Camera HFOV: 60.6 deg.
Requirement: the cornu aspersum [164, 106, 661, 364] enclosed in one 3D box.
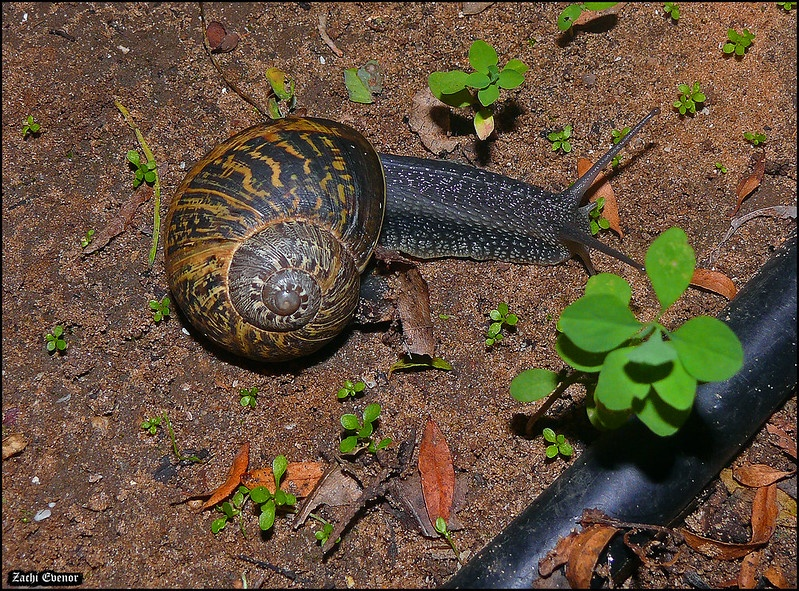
[{"bbox_3d":[0.200,-0.281,3.871,2.679,0.816,1.254,-4,82,2],"label":"cornu aspersum"}]
